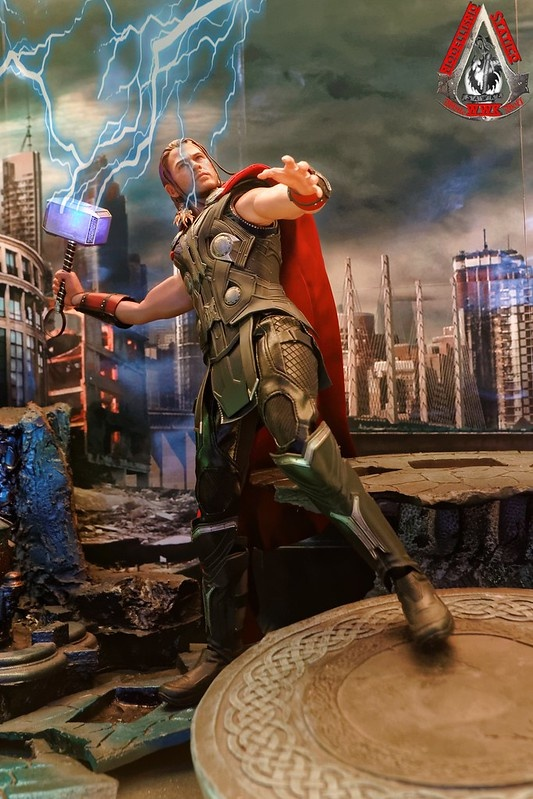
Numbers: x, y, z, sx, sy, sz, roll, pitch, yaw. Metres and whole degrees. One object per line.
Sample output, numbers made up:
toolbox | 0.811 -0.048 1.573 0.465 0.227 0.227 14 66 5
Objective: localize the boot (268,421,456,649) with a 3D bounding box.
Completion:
boot | 0.208 0.284 1.780 0.205 0.663 0.244 -48 -24 7

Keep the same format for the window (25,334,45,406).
window | -1.438 -0.180 4.516 0.145 0.438 0.051 -6 2 -37

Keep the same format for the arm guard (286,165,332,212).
arm guard | 0.116 -0.519 1.839 0.108 0.052 0.114 -11 -29 11

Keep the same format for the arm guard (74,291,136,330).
arm guard | -0.566 -0.325 2.552 0.201 0.076 0.120 13 42 16
